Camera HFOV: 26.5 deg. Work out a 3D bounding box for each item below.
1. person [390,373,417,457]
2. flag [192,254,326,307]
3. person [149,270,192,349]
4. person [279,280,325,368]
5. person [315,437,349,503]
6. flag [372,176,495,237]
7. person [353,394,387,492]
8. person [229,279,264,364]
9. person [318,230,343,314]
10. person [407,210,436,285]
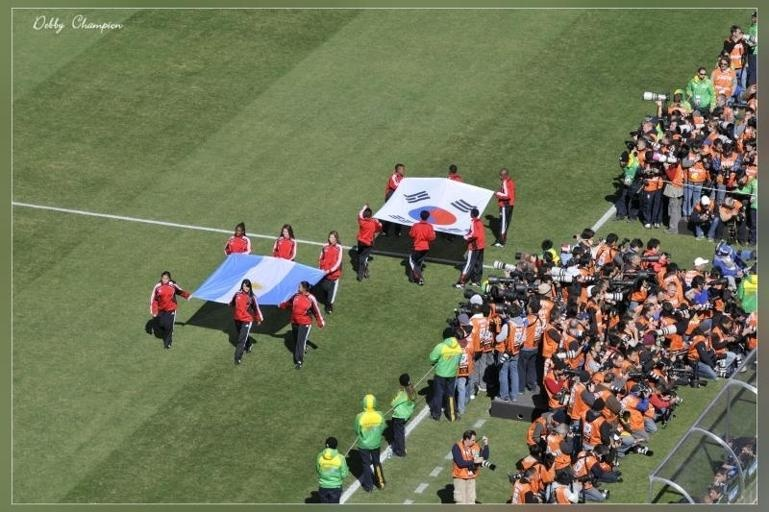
[{"bbox_3d":[0.449,4.179,42.707,0.633,2.375,0.699,-13,24,-18],"label":"person"},{"bbox_3d":[-3.532,0.619,46.385,2.536,0.647,1.779,16,60,27],"label":"flag"},{"bbox_3d":[-6.093,1.471,46.507,1.173,2.307,1.049,4,-7,-2],"label":"person"},{"bbox_3d":[-2.294,1.903,45.500,1.497,2.271,0.699,5,10,23],"label":"person"},{"bbox_3d":[-1.313,5.501,41.280,0.756,1.842,0.346,-6,23,-2],"label":"person"},{"bbox_3d":[1.392,-1.596,48.647,2.701,0.399,2.017,15,46,22],"label":"flag"},{"bbox_3d":[-0.407,4.868,42.196,0.898,2.350,0.829,-2,4,-34],"label":"person"},{"bbox_3d":[-3.907,1.764,45.869,1.029,2.307,1.025,3,16,-10],"label":"person"},{"bbox_3d":[-1.581,0.414,46.991,0.888,2.251,0.915,-1,10,-28],"label":"person"},{"bbox_3d":[1.077,-0.279,47.783,0.827,2.043,1.185,6,8,-3],"label":"person"}]
